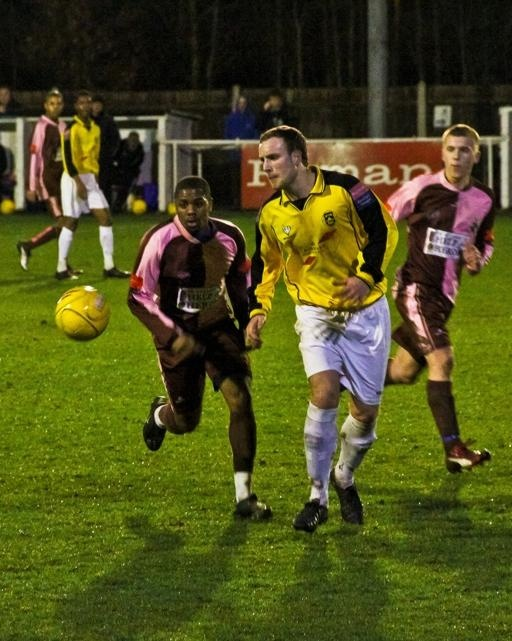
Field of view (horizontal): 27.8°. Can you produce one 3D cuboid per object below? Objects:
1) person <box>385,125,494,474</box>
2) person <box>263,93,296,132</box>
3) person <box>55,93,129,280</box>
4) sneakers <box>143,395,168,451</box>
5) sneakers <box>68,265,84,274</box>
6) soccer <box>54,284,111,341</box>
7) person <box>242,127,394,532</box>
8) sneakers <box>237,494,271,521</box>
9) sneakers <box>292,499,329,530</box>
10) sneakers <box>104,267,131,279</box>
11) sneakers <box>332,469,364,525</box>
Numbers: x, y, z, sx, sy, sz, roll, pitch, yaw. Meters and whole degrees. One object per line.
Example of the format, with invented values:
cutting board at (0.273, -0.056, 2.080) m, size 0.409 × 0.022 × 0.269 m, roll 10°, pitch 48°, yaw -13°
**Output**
person at (0.822, -0.200, 4.689) m, size 0.490 × 1.353 × 0.745 m, roll 2°, pitch 11°, yaw 12°
person at (0.291, -3.297, 16.152) m, size 0.467 × 0.580 × 0.805 m, roll 5°, pitch 12°, yaw 25°
person at (-1.613, -1.283, 9.907) m, size 0.669 × 1.758 × 0.805 m, roll -2°, pitch 10°, yaw -8°
sneakers at (-0.500, 0.499, 4.975) m, size 0.093 × 0.117 × 0.275 m, roll 19°, pitch 24°, yaw -7°
sneakers at (-1.829, -0.520, 10.453) m, size 0.116 × 0.056 × 0.217 m, roll 12°, pitch 3°, yaw 6°
soccer at (-0.893, -0.027, 5.216) m, size 0.245 × 0.261 × 0.247 m, roll -6°, pitch 12°, yaw -31°
person at (0.246, 0.024, 4.118) m, size 0.602 × 1.572 × 0.462 m, roll 2°, pitch 10°, yaw 12°
sneakers at (-0.017, 0.757, 4.188) m, size 0.158 × 0.112 × 0.078 m, roll -1°, pitch 4°, yaw -2°
sneakers at (0.215, 0.776, 4.077) m, size 0.064 × 0.084 × 0.187 m, roll 2°, pitch -6°, yaw 27°
sneakers at (-1.361, -0.468, 10.077) m, size 0.283 × 0.114 × 0.103 m, roll 0°, pitch 6°, yaw 16°
sneakers at (0.383, 0.738, 4.248) m, size 0.078 × 0.233 × 0.092 m, roll -11°, pitch -27°, yaw -20°
